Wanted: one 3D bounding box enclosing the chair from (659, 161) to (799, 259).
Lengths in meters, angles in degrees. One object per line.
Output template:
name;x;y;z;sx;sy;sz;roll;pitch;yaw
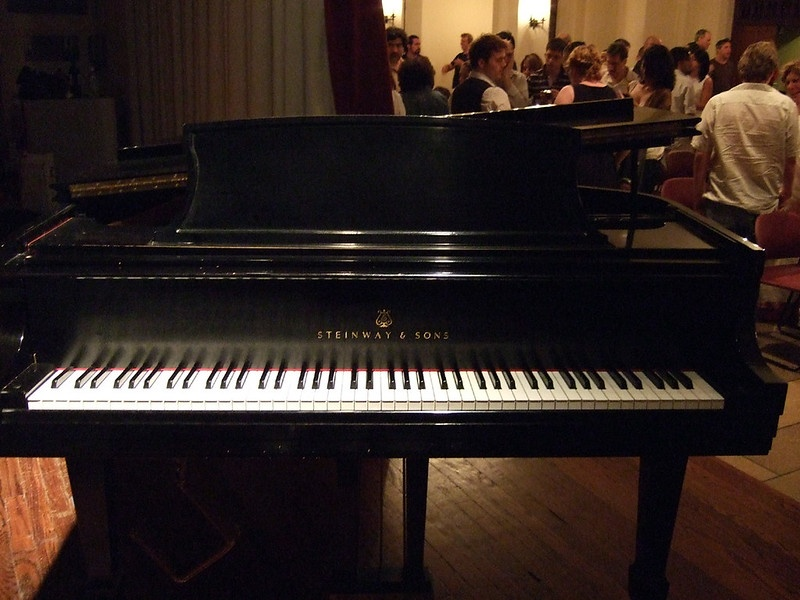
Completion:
chair;2.370;-0.733;5.306;0.865;0.354;0.712;-5;31;-8

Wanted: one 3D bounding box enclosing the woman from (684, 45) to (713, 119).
woman;3.333;-2.409;7.861;0.251;0.777;0.220;-6;-15;32

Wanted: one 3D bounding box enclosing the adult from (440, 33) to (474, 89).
adult;0.686;-3.111;9.226;0.350;0.348;0.926;0;-14;-9
